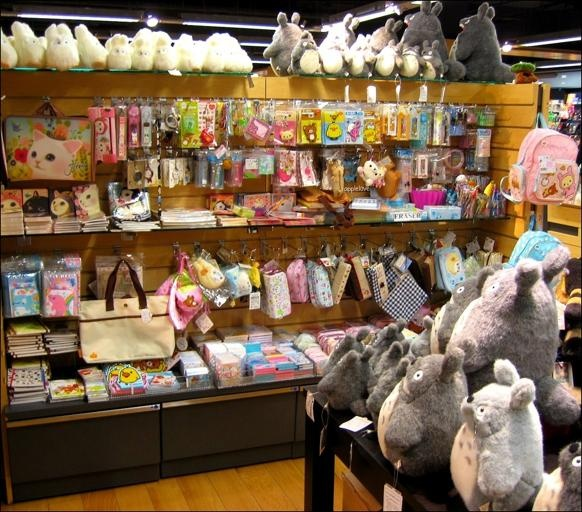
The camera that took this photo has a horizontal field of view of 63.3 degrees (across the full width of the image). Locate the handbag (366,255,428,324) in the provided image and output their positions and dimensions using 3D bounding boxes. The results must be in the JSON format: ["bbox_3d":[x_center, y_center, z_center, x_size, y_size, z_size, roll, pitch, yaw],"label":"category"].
[{"bbox_3d":[0.820,0.268,3.730,0.500,0.529,0.150,-39,12,-22],"label":"handbag"}]

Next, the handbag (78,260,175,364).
[{"bbox_3d":[-1.069,0.378,3.042,0.555,0.772,0.199,-1,4,-16],"label":"handbag"}]

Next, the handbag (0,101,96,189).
[{"bbox_3d":[-1.445,-0.657,2.796,0.418,0.481,0.152,-4,19,-18],"label":"handbag"}]

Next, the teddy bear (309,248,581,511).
[{"bbox_3d":[0.630,0.561,1.988,0.916,0.872,0.993,1,0,-22],"label":"teddy bear"}]

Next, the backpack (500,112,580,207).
[{"bbox_3d":[1.569,-0.522,3.110,0.586,0.697,0.393,0,2,-24],"label":"backpack"}]
